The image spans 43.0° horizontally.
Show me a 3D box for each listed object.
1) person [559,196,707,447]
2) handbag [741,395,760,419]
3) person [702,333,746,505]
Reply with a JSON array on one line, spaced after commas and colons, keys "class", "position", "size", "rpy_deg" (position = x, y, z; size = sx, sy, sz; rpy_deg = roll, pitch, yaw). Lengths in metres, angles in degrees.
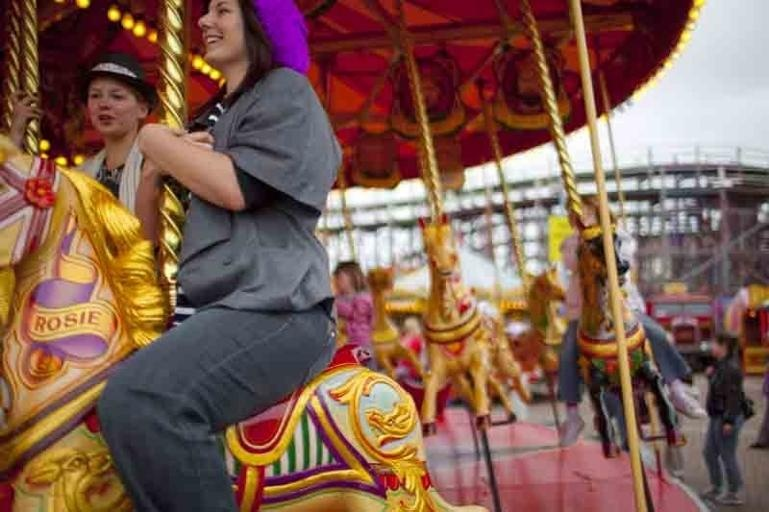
[{"class": "person", "position": [1.605, 0.430, 6.712], "size": [0.282, 1.748, 1.021], "rpy_deg": [-1, -4, -40]}, {"class": "handbag", "position": [2.367, 1.001, 6.343], "size": [0.081, 0.123, 0.036], "rpy_deg": [3, -7, -4]}, {"class": "person", "position": [2.232, 1.078, 6.387], "size": [0.301, 0.770, 0.125], "rpy_deg": [-5, -3, 19]}]
